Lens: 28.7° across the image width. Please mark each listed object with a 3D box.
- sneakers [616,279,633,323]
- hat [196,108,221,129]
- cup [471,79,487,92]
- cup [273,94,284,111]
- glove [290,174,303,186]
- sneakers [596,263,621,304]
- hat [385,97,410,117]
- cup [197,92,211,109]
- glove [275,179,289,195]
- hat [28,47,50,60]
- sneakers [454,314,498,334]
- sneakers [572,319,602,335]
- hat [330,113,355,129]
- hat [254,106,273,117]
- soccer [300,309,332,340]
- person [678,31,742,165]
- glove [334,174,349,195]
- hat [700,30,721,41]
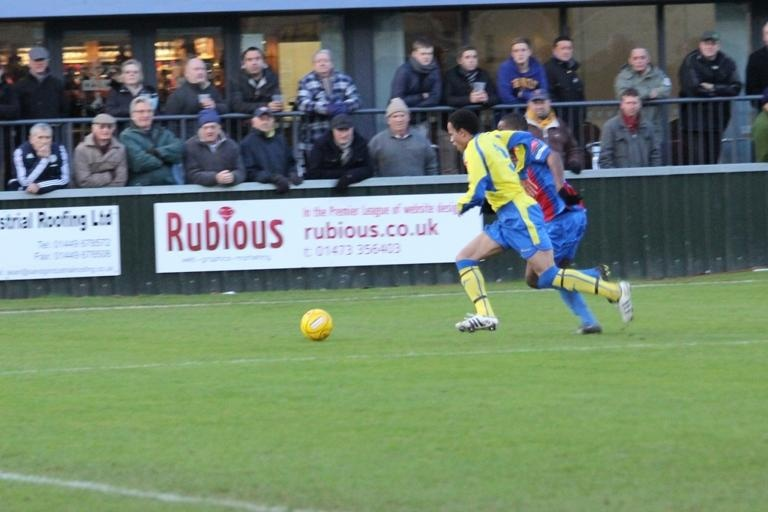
[{"bbox_3d":[2.616,0.487,16.347,0.238,0.436,0.161,-8,16,5],"label":"sneakers"},{"bbox_3d":[-2.258,-1.800,19.501,0.287,0.184,0.276,-3,10,32],"label":"hat"},{"bbox_3d":[1.264,-2.284,20.062,0.190,0.138,0.173,-1,4,0],"label":"cup"},{"bbox_3d":[-1.408,-2.031,19.830,0.127,0.228,0.182,-1,4,8],"label":"cup"},{"bbox_3d":[-1.151,-1.007,19.833,0.140,0.081,0.121,-1,0,36],"label":"glove"},{"bbox_3d":[2.598,0.317,17.460,0.219,0.490,0.241,-15,-9,14],"label":"sneakers"},{"bbox_3d":[0.173,-1.981,19.746,0.245,0.182,0.297,-1,-6,-8],"label":"hat"},{"bbox_3d":[-2.324,-2.038,19.715,0.170,0.197,0.299,-3,5,-20],"label":"cup"},{"bbox_3d":[-1.337,-0.934,19.759,0.194,0.191,0.111,-2,4,-2],"label":"glove"},{"bbox_3d":[-4.585,-2.696,19.963,0.215,0.150,0.223,-3,-9,-3],"label":"hat"},{"bbox_3d":[0.955,0.730,16.280,0.548,0.229,0.178,3,-4,1],"label":"sneakers"},{"bbox_3d":[2.303,0.803,16.851,0.129,0.113,0.298,-2,-9,-13],"label":"sneakers"},{"bbox_3d":[-0.548,-1.759,19.520,0.284,0.217,0.281,-2,4,-1],"label":"hat"},{"bbox_3d":[-1.573,-1.892,19.530,0.235,0.130,0.213,-2,4,-6],"label":"hat"},{"bbox_3d":[-0.754,0.773,16.881,0.338,0.332,0.303,-2,4,-3],"label":"soccer"},{"bbox_3d":[4.440,-2.158,20.495,0.793,1.768,0.405,-1,5,10],"label":"person"},{"bbox_3d":[-0.544,-0.950,19.798,0.184,0.241,0.194,-2,4,-5],"label":"glove"},{"bbox_3d":[4.395,-2.983,20.343,0.185,0.141,0.257,-4,5,-32],"label":"hat"}]
